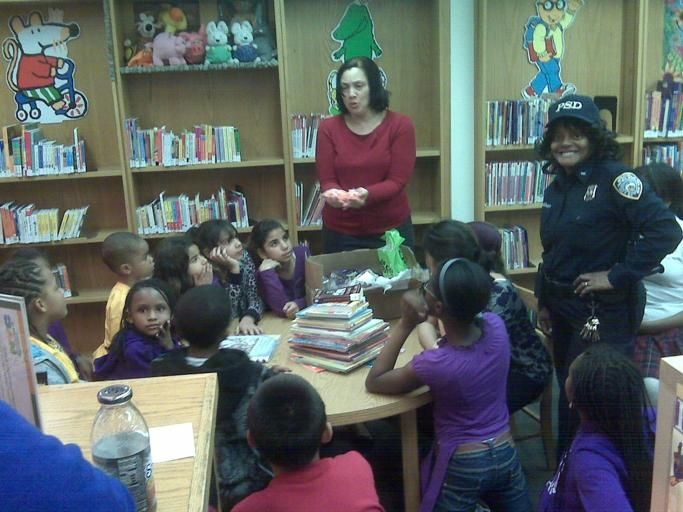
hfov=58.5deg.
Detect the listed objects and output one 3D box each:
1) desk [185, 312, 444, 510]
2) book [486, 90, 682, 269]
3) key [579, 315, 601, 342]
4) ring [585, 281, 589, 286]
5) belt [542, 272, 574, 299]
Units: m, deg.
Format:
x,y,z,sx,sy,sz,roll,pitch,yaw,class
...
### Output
x,y,z,sx,sy,sz,roll,pitch,yaw,class
0.052,0.533,2.052,0.508,0.379,0.514,-1,8,8,desk
0.986,-0.247,2.571,0.533,0.923,0.912,-1,-2,-10,book
0.871,0.251,2.138,0.058,0.081,0.021,11,2,44,key
0.877,0.100,2.174,0.011,0.016,0.005,0,-8,20,ring
0.810,0.112,2.272,0.064,0.032,0.089,12,19,29,belt
